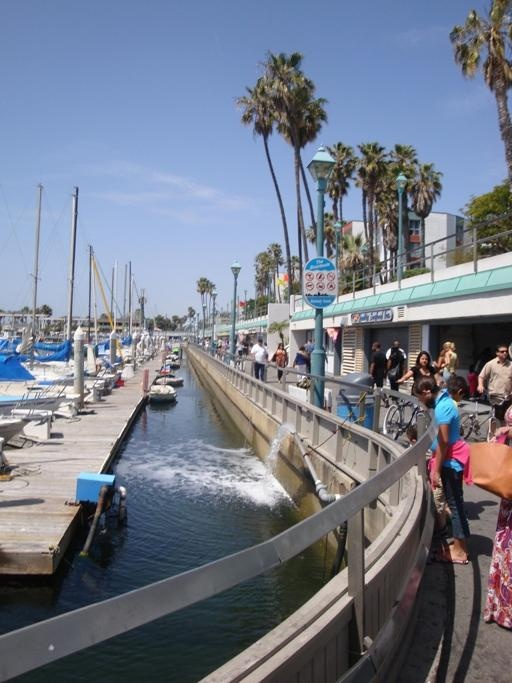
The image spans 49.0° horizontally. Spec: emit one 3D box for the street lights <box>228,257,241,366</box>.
[{"bbox_3d":[-1.337,-1.944,33.322,0.779,5.689,0.656,4,5,-2],"label":"street lights"}]

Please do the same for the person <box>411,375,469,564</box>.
[{"bbox_3d":[1.653,1.113,4.980,0.430,1.680,0.641,-2,-1,19],"label":"person"}]

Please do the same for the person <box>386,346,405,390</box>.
[{"bbox_3d":[3.845,0.814,15.301,0.487,1.639,0.403,2,19,24],"label":"person"}]

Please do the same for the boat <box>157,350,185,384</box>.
[{"bbox_3d":[-8.928,2.605,58.800,1.754,1.982,6.089,1,6,-8],"label":"boat"}]

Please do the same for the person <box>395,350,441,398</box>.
[{"bbox_3d":[3.001,0.861,10.309,0.791,1.391,0.450,0,30,21],"label":"person"}]

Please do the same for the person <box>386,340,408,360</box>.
[{"bbox_3d":[4.622,0.265,18.355,0.663,0.734,0.372,0,-4,-3],"label":"person"}]

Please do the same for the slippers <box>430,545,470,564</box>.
[{"bbox_3d":[1.630,1.819,4.758,0.233,0.088,0.139,0,-10,11],"label":"slippers"}]
